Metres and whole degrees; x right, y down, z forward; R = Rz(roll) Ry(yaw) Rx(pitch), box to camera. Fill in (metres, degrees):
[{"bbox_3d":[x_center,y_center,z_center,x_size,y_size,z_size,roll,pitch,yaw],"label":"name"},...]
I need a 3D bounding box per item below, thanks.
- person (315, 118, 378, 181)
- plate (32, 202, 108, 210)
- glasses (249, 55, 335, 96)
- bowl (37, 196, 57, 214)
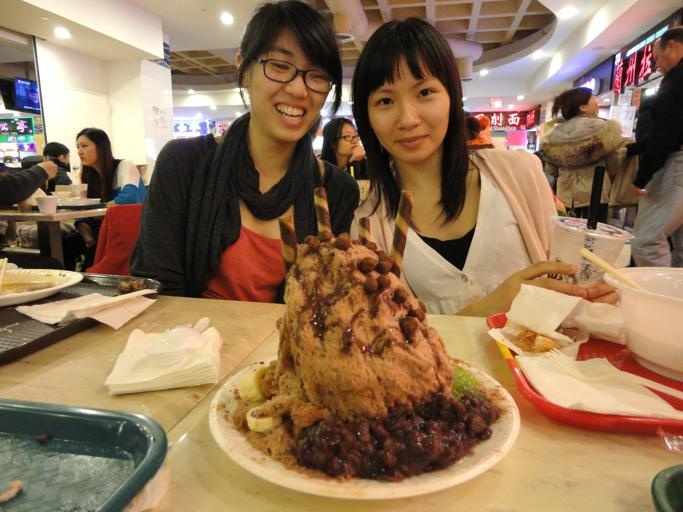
[{"bbox_3d":[-0.002,-1.243,5.505,0.486,0.717,0.434,-10,19,-30],"label":"person"},{"bbox_3d":[-2.434,-0.447,4.325,0.268,0.039,0.262,0,-1,8],"label":"plate"},{"bbox_3d":[-0.207,-0.860,2.323,0.373,0.162,0.099,-6,15,-20],"label":"glasses"},{"bbox_3d":[-2.432,-0.430,4.016,0.165,0.138,0.150,4,8,5],"label":"bowl"}]
